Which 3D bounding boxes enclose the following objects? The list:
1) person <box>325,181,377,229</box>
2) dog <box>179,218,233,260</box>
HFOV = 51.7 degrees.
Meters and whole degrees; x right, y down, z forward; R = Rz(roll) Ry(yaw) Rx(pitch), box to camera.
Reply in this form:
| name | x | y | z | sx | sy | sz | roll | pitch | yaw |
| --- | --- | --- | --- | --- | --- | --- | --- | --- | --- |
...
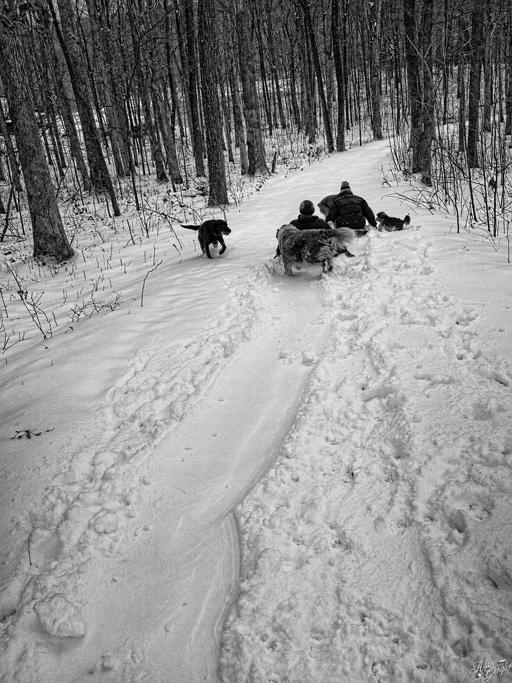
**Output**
| name | x | y | z | sx | sy | sz | roll | pitch | yaw |
| --- | --- | --- | --- | --- | --- | --- | --- | --- | --- |
| person | 1.244 | -1.686 | 6.929 | 0.555 | 0.497 | 0.683 | -25 | 25 | -28 |
| dog | -0.730 | -1.495 | 7.508 | 0.274 | 0.531 | 1.041 | -15 | 20 | -29 |
